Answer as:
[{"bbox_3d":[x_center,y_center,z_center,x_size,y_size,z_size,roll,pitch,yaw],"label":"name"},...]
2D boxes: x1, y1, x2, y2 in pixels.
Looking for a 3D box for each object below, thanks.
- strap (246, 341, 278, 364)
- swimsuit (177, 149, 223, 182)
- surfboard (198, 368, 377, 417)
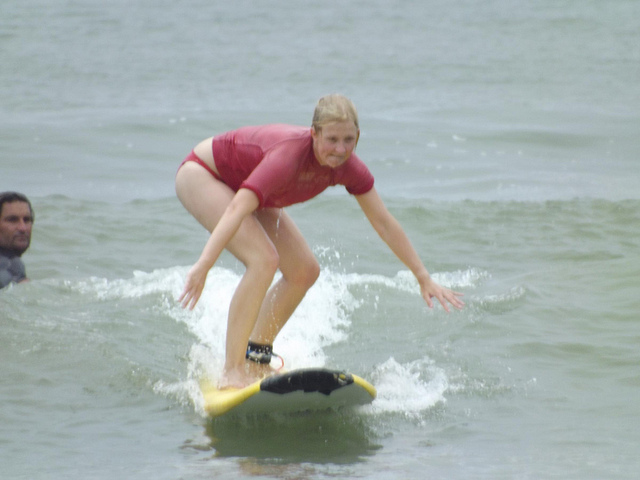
[{"bbox_3d":[-0.613,1.181,12.975,0.280,0.136,0.195,6,7,7],"label":"strap"},{"bbox_3d":[-1.284,-0.756,12.946,0.523,0.304,0.201,16,37,41],"label":"swimsuit"},{"bbox_3d":[-0.457,1.582,12.579,1.386,0.215,0.687,-8,-15,26],"label":"surfboard"}]
